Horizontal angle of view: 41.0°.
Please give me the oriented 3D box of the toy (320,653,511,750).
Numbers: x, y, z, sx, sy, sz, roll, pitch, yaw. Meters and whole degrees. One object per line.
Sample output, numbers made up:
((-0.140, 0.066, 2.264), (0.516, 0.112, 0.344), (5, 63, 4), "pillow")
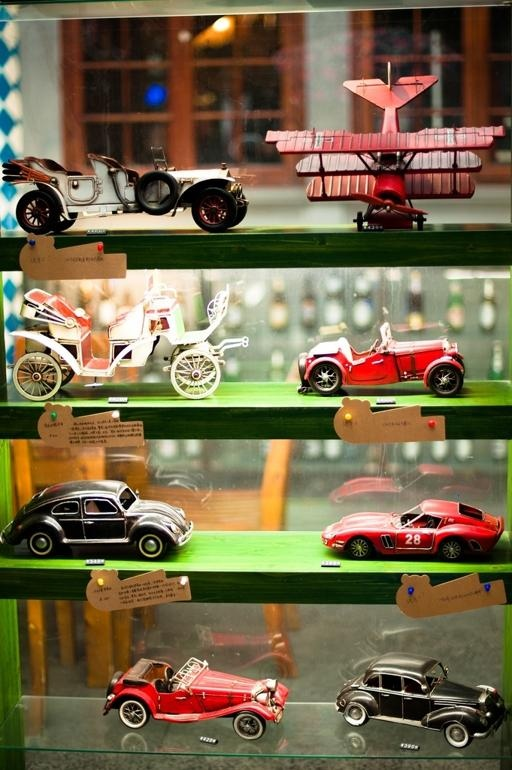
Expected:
((0.412, 0.782, 1.725), (0.373, 0.195, 0.218), (-3, 12, 34), "toy")

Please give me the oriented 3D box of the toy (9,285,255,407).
((-0.317, -0.100, 1.727), (0.544, 0.263, 0.222), (-1, -10, -9), "toy")

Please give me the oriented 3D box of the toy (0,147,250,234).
((-0.299, -0.432, 1.551), (0.455, 0.159, 0.232), (0, 29, 4), "toy")

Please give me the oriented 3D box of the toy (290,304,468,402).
((0.289, -0.075, 1.568), (0.355, 0.164, 0.182), (-2, 13, 6), "toy")

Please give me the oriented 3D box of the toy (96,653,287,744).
((-0.153, 0.749, 1.713), (0.433, 0.138, 0.185), (1, 15, 8), "toy")

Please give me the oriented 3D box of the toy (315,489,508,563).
((0.375, 0.317, 1.641), (0.334, 0.088, 0.179), (1, 1, 8), "toy")

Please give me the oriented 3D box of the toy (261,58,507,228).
((0.270, -0.515, 1.497), (0.476, 0.370, 0.257), (-10, 10, 2), "toy")

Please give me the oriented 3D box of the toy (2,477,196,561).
((-0.408, 0.351, 1.709), (0.480, 0.202, 0.147), (-9, 10, 9), "toy")
